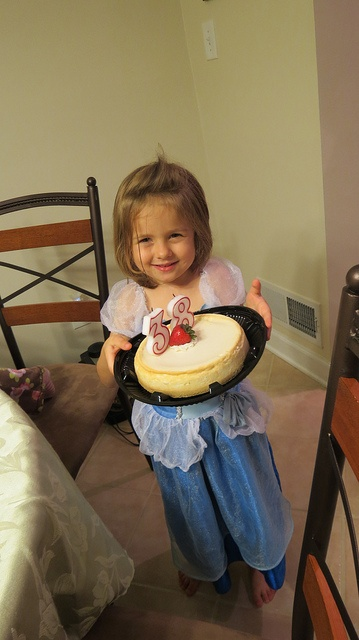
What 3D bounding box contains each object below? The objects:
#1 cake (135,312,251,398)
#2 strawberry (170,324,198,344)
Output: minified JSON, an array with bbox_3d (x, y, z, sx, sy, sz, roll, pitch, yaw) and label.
[{"bbox_3d":[0.017,0.051,0.821,0.222,0.055,0.235,-22,29,-13],"label":"cake"},{"bbox_3d":[0.009,0.032,0.875,0.041,0.041,0.038,-31,49,1],"label":"strawberry"}]
